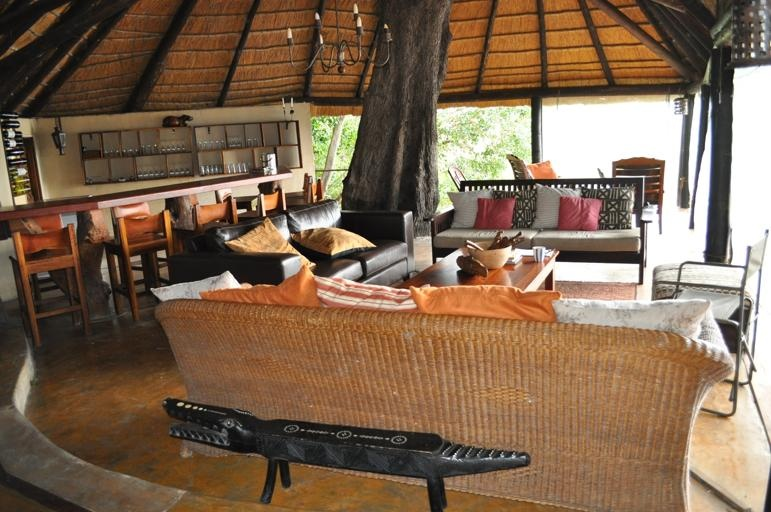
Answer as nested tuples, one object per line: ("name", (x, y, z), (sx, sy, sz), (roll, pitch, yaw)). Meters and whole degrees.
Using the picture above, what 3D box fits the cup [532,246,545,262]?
("cup", (1.377, -0.023, 5.201), (0.170, 0.125, 0.136), (-3, 10, -7))

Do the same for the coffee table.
("coffee table", (0.854, -0.051, 4.873), (1.188, 0.398, 0.543), (2, 8, 17))

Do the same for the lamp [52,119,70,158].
("lamp", (-5.520, -2.038, 9.587), (0.211, 0.651, 0.754), (-8, 12, -28))

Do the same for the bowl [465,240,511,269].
("bowl", (0.927, -0.009, 5.098), (0.367, 0.121, 0.314), (3, 8, 17))
